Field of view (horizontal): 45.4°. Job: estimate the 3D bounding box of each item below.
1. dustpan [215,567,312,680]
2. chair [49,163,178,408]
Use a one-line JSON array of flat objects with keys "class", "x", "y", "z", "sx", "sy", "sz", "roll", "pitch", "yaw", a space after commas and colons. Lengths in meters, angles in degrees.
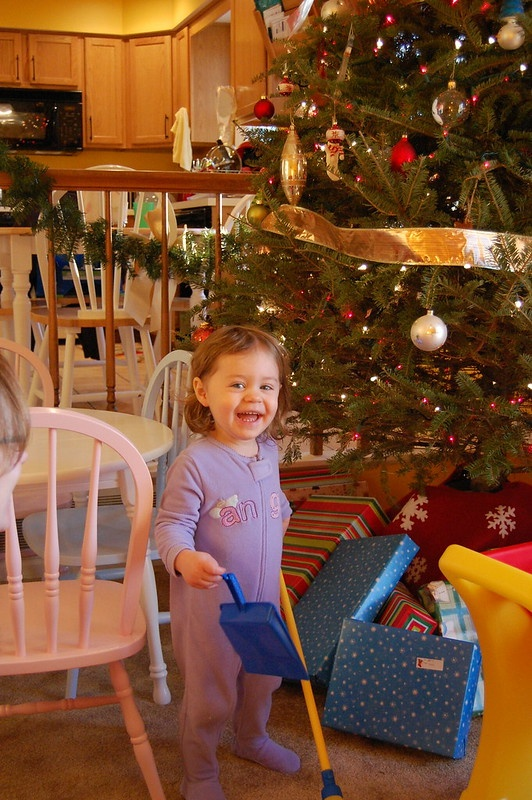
[{"class": "dustpan", "x": 0.000, "y": 0.272, "z": 0.740, "sx": 0.087, "sy": 0.149, "sz": 0.025, "roll": -3, "pitch": 32, "yaw": 34}, {"class": "chair", "x": -0.702, "y": -0.408, "z": 2.895, "sx": 0.590, "sy": 1.079, "sz": 0.503, "roll": -2, "pitch": 3, "yaw": 2}]
